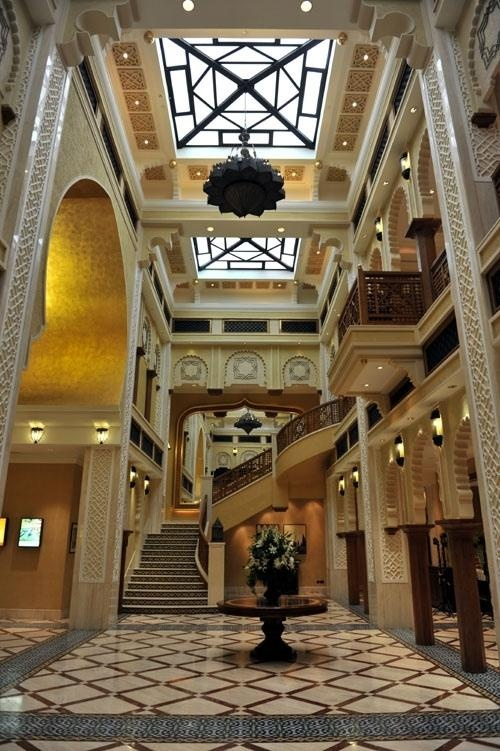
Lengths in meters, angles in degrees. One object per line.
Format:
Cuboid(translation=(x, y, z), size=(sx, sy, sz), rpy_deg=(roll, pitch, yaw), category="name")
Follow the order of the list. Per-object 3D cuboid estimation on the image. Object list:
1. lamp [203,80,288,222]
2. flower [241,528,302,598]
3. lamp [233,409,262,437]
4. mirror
Cuboid(translation=(-0.076, -3.398, 6.934), size=(1.286, 1.834, 1.254), rpy_deg=(10, -15, -41), category="lamp")
Cuboid(translation=(0.285, 2.364, 5.491), size=(0.608, 0.859, 0.532), rpy_deg=(0, -19, 1), category="flower")
Cuboid(translation=(-0.024, 1.766, 18.643), size=(1.108, 1.723, 1.187), rpy_deg=(-2, -26, 8), category="lamp")
Cuboid(translation=(-0.231, 2.550, 14.506), size=(5.078, 4.010, 1.662), rpy_deg=(0, -19, 1), category="mirror")
